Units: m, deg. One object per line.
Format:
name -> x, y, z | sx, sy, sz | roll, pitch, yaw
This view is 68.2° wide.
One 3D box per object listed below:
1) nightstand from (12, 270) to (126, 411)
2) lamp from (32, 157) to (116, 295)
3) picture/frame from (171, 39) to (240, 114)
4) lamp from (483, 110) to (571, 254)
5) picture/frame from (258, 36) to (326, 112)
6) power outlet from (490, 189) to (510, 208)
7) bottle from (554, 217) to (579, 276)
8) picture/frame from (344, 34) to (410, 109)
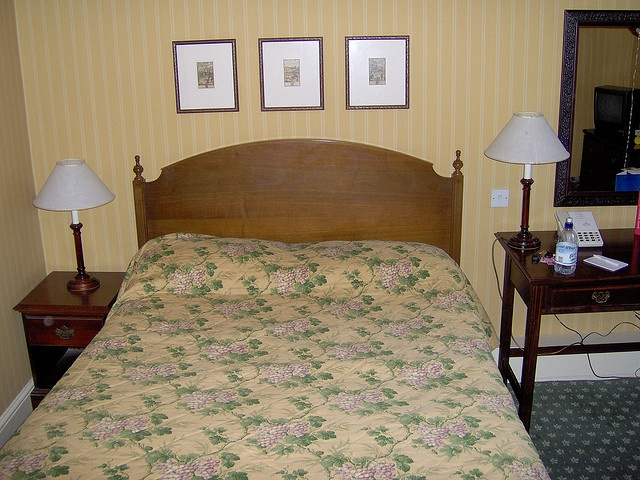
nightstand -> -1.793, 0.731, 3.369 | 0.514, 0.652, 0.511 | -4, 10, -30
lamp -> -1.766, -0.123, 3.374 | 0.507, 0.914, 0.524 | -7, 34, -24
picture/frame -> -0.804, -1.165, 3.311 | 0.463, 0.473, 0.032 | -1, 22, 3
lamp -> 1.435, -0.427, 3.258 | 0.544, 0.944, 0.564 | -15, 29, -18
picture/frame -> -0.198, -1.175, 3.299 | 0.462, 0.469, 0.033 | 0, 12, -4
power outlet -> 1.325, -0.311, 3.489 | 0.123, 0.125, 0.013 | -1, 11, -4
bottle -> 1.541, 0.021, 2.938 | 0.129, 0.299, 0.364 | 7, 16, 28
picture/frame -> 0.394, -1.190, 3.295 | 0.446, 0.453, 0.016 | -1, 6, -6
